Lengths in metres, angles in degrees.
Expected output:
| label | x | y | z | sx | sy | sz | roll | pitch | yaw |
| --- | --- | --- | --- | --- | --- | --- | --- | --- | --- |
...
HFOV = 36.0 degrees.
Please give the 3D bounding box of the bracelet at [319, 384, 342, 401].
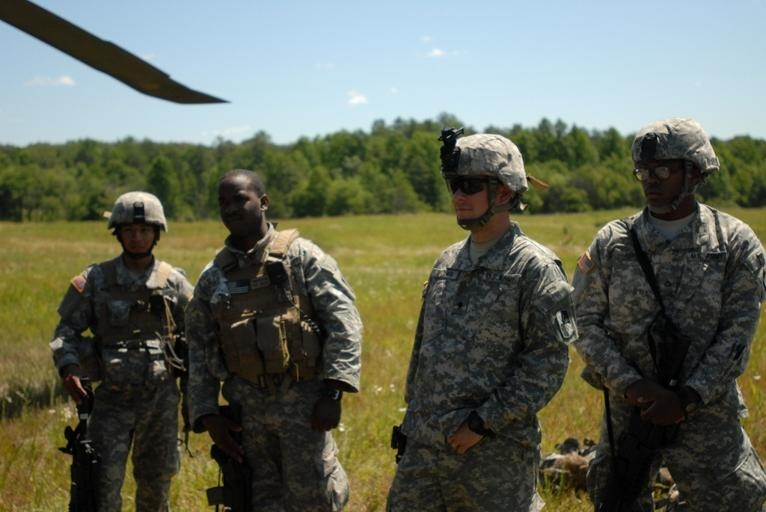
| label | x | y | z | sx | sy | sz | roll | pitch | yaw |
| --- | --- | --- | --- | --- | --- | --- | --- | --- | --- |
| bracelet | -0.513 | 1.369 | 11.777 | 0.157 | 0.172 | 0.167 | -8 | -10 | 30 |
